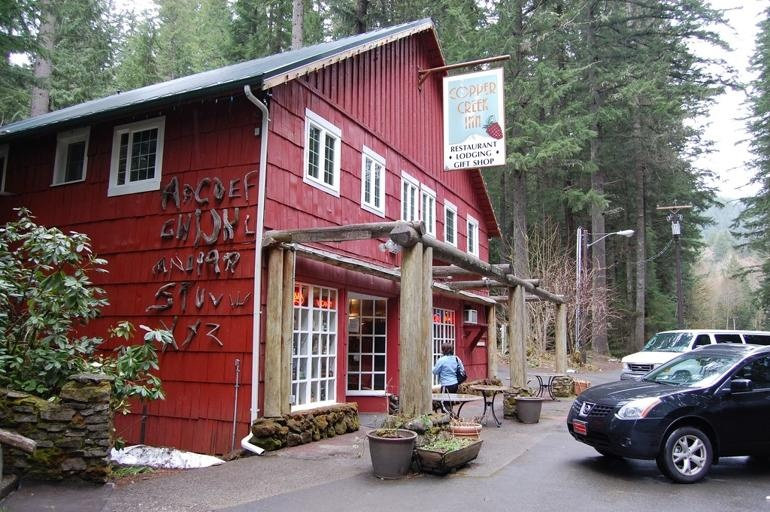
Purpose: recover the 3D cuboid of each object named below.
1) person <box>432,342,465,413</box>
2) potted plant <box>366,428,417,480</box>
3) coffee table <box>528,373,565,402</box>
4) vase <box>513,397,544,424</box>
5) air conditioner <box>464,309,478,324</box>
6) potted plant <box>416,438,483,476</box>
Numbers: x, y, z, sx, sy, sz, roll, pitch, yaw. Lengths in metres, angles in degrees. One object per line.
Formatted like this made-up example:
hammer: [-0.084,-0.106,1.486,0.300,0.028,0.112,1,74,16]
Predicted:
person: [1.642,3.030,13.923,0.833,1.901,0.570,0,16,0]
potted plant: [0.141,3.610,10.292,0.901,0.725,0.949,-3,-11,9]
coffee table: [5.379,4.410,18.861,1.438,0.937,1.459,2,-7,-18]
vase: [3.768,3.998,14.654,0.621,0.483,0.638,-10,-12,32]
air conditioner: [3.259,2.245,20.951,0.448,0.581,0.815,-4,-9,22]
potted plant: [1.268,3.674,10.366,0.516,0.267,1.017,-6,-11,34]
